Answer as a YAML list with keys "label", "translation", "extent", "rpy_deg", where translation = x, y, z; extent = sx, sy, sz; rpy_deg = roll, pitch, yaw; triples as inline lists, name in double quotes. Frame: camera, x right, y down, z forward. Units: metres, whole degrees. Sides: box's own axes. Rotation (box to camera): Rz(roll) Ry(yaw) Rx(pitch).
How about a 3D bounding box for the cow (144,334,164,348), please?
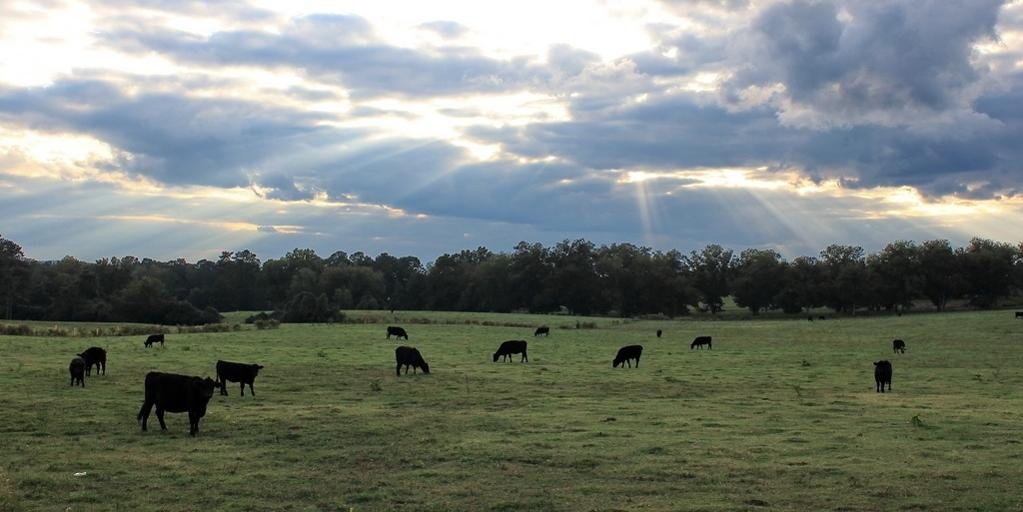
- label: "cow"
  translation: [-39.467, 9.200, 90.317]
  extent: [1.752, 1.317, 3.036]
  rpy_deg: [-1, 7, -10]
